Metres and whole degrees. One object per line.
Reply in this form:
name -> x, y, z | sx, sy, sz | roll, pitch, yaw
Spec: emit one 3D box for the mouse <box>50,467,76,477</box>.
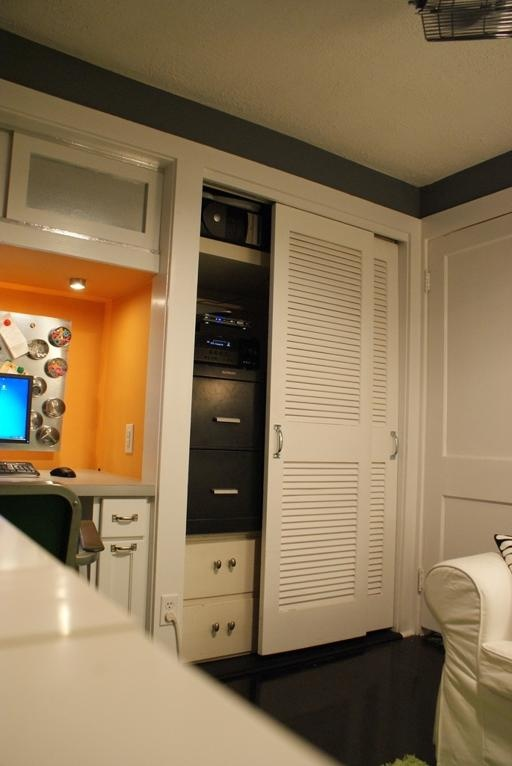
mouse -> -0.763, 0.357, 2.237 | 0.095, 0.034, 0.050 | 4, -3, 41
